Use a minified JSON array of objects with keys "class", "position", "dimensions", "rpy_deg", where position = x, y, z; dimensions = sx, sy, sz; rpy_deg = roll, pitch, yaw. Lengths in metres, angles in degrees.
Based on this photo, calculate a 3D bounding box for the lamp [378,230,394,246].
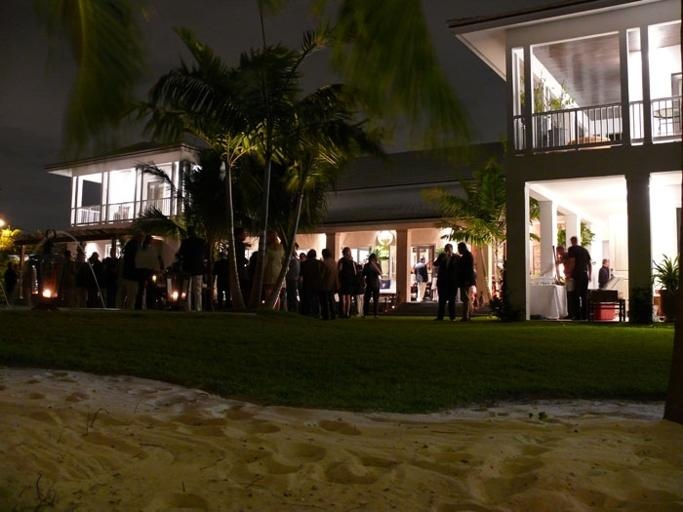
[{"class":"lamp","position":[1.875,-0.777,25.050],"dimensions":[0.528,0.631,0.558],"rpy_deg":[-2,3,0]}]

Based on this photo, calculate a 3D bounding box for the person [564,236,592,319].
[{"class":"person","position":[5.563,0.607,13.902],"dimensions":[0.469,1.738,0.891],"rpy_deg":[0,-1,21]}]

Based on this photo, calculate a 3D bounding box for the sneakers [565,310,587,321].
[{"class":"sneakers","position":[5.663,1.409,14.273],"dimensions":[0.549,0.291,0.205],"rpy_deg":[-4,-4,18]}]

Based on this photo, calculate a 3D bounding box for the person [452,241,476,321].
[{"class":"person","position":[2.933,0.582,13.981],"dimensions":[0.382,1.809,1.017],"rpy_deg":[0,-1,12]}]

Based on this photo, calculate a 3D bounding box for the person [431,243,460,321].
[{"class":"person","position":[2.500,0.596,14.008],"dimensions":[0.519,1.812,0.542],"rpy_deg":[1,8,8]}]

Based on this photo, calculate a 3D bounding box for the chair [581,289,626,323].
[{"class":"chair","position":[6.317,1.123,14.239],"dimensions":[0.814,0.733,0.686],"rpy_deg":[3,12,23]}]
